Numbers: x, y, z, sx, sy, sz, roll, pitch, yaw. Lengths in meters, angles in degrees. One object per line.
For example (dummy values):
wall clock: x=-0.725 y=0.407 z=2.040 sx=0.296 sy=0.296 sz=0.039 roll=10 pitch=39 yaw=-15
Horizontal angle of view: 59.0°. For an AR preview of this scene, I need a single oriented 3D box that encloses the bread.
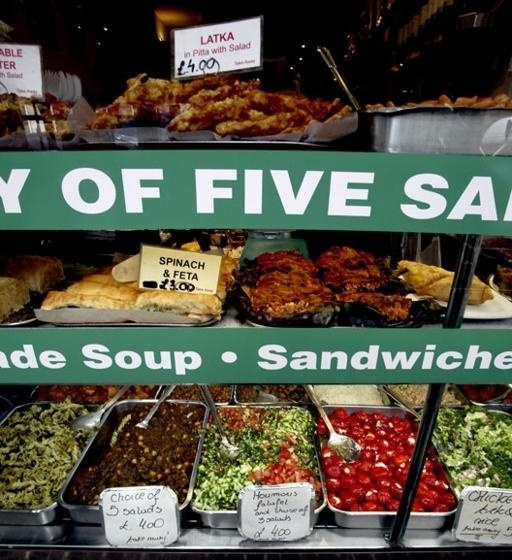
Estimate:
bread: x=-0.396 y=0.032 z=1.367 sx=0.513 sy=0.071 sz=0.295 roll=-2 pitch=38 yaw=6
